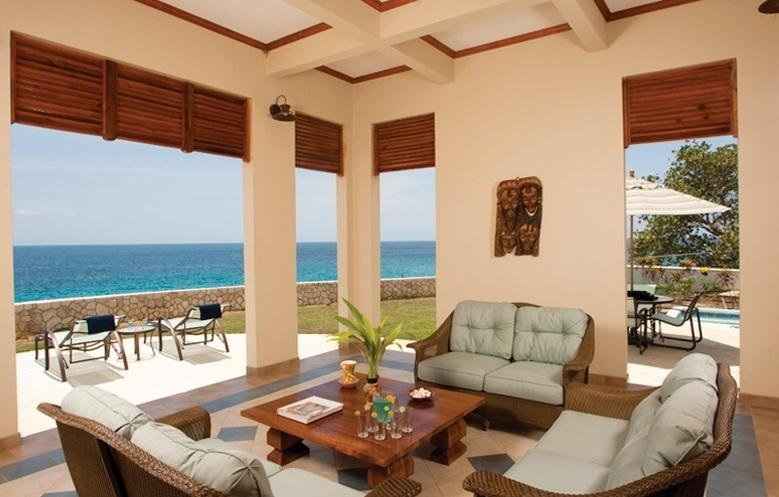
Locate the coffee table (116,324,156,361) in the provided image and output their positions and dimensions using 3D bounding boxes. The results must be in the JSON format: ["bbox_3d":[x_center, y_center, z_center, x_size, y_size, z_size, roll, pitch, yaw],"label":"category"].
[{"bbox_3d":[-4.267,1.599,8.254,0.580,0.414,0.580,3,6,20],"label":"coffee table"}]

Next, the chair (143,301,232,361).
[{"bbox_3d":[-3.543,1.387,8.670,0.861,0.707,1.710,2,2,-45],"label":"chair"}]

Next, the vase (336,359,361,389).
[{"bbox_3d":[-0.426,1.427,5.596,0.287,0.271,0.280,2,-6,-32],"label":"vase"}]

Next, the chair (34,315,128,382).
[{"bbox_3d":[-4.857,1.497,7.760,1.766,0.962,0.988,4,3,43],"label":"chair"}]

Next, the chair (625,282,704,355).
[{"bbox_3d":[4.453,1.070,8.360,1.335,0.889,1.208,-1,0,43],"label":"chair"}]

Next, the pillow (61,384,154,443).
[{"bbox_3d":[-2.160,1.203,3.710,0.626,0.206,0.346,16,24,26],"label":"pillow"}]

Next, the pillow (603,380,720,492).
[{"bbox_3d":[2.058,1.034,3.705,0.690,0.609,1.636,-2,6,32],"label":"pillow"}]

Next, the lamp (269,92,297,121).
[{"bbox_3d":[-1.499,-1.976,6.848,0.319,0.524,0.734,-1,1,-12],"label":"lamp"}]

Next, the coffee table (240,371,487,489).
[{"bbox_3d":[-0.313,1.737,4.889,1.360,0.402,1.241,0,1,37],"label":"coffee table"}]

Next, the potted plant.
[{"bbox_3d":[-0.380,1.027,5.730,1.197,1.126,1.199,0,-3,21],"label":"potted plant"}]
